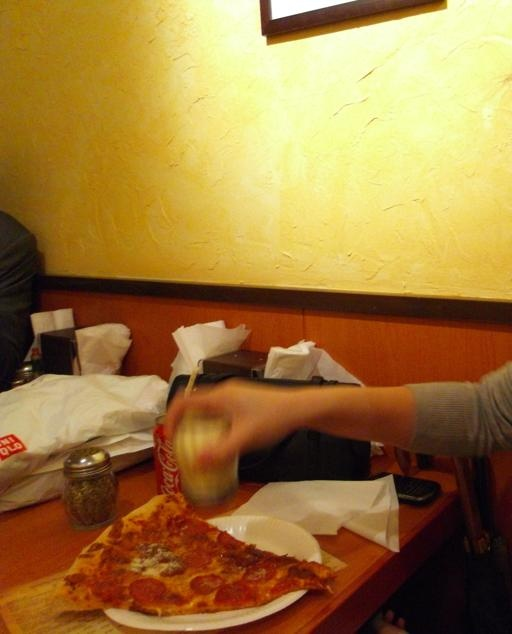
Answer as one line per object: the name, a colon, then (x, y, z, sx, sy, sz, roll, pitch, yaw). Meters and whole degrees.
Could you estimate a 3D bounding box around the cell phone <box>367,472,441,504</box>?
cell phone: (0.303, 0.349, 1.076, 0.108, 0.024, 0.080, 6, 10, 41)
